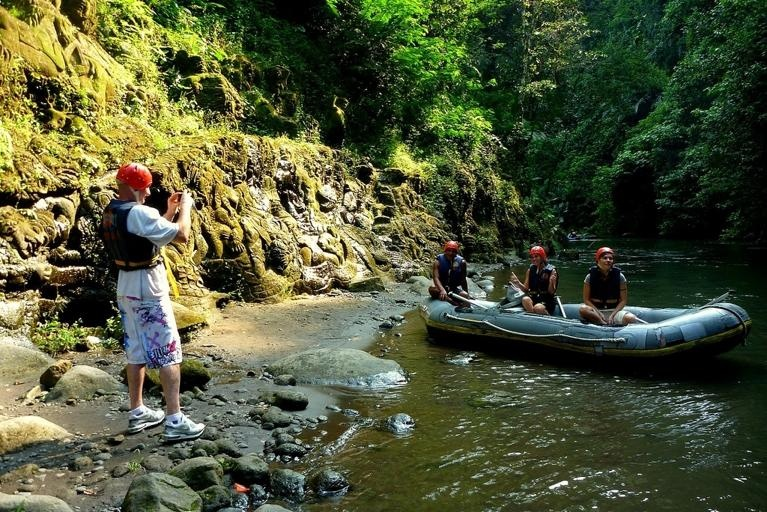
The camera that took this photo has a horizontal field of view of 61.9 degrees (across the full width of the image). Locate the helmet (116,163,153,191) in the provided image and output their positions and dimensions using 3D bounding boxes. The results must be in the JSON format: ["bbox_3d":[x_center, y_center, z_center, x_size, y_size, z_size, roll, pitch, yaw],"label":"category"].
[{"bbox_3d":[-3.319,-1.074,8.712,0.512,0.343,0.345,20,10,-28],"label":"helmet"}]

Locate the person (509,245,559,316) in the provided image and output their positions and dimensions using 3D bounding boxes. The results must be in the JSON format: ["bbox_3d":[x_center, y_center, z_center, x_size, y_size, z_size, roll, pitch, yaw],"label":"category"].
[{"bbox_3d":[3.020,0.750,12.780,1.231,1.457,0.971,-2,5,14],"label":"person"}]

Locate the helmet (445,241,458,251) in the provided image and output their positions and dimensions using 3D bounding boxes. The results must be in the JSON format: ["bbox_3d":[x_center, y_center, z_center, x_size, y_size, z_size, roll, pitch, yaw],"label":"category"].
[{"bbox_3d":[1.516,-0.118,14.035,0.266,0.132,0.295,2,-14,10],"label":"helmet"}]

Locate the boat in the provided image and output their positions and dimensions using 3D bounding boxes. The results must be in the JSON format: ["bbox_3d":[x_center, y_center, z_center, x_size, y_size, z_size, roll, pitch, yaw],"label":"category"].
[{"bbox_3d":[3.799,1.646,11.861,3.982,0.624,2.324,0,-2,36],"label":"boat"}]
